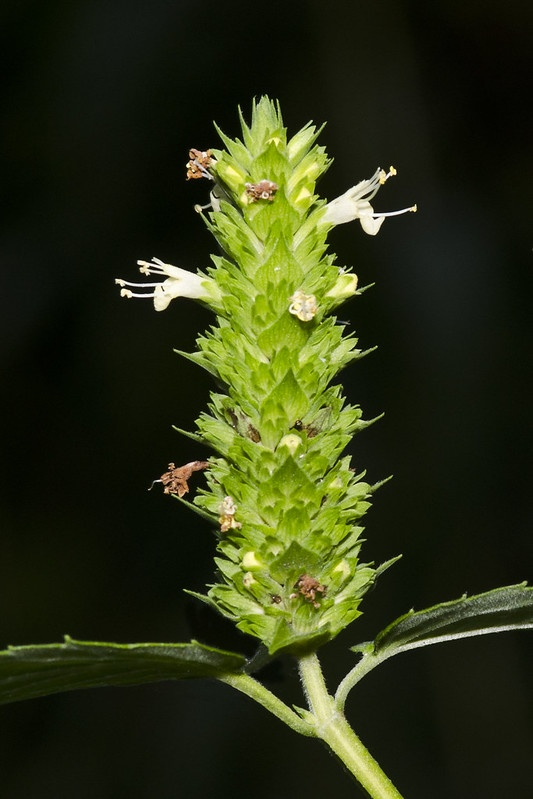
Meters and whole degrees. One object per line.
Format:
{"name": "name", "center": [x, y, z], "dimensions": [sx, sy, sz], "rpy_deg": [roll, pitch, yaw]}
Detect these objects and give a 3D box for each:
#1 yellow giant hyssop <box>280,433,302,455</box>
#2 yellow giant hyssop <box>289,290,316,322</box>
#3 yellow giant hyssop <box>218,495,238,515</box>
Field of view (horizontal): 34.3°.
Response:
{"name": "yellow giant hyssop", "center": [0.060, 0.106, 2.139], "dimensions": [0.048, 0.028, 0.051], "rpy_deg": [-7, -44, -8]}
{"name": "yellow giant hyssop", "center": [0.093, -0.230, 2.139], "dimensions": [0.074, 0.070, 0.027], "rpy_deg": [1, -7, -3]}
{"name": "yellow giant hyssop", "center": [-0.097, 0.263, 2.162], "dimensions": [0.038, 0.044, 0.019], "rpy_deg": [1, -10, -10]}
